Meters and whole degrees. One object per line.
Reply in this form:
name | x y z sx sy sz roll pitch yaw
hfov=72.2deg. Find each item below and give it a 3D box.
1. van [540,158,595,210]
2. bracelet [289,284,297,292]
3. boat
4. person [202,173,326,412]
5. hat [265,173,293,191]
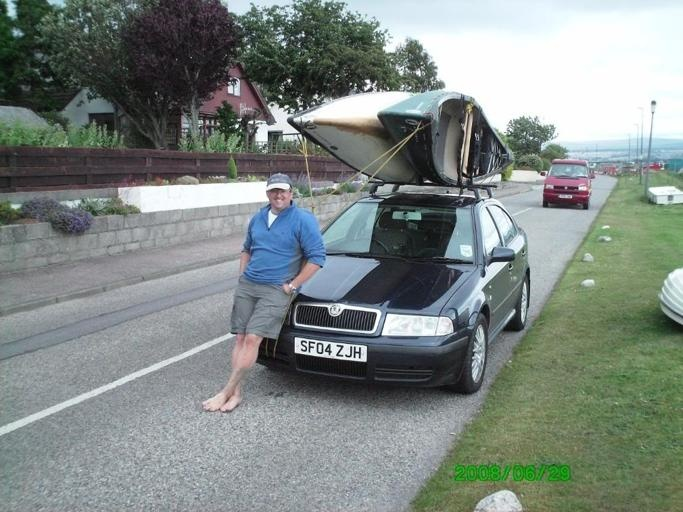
van | 12.427 -4.012 25.666 1.958 1.807 3.648 2 8 24
bracelet | -0.467 0.304 4.436 0.054 0.086 0.082 -12 25 -17
boat | 1.397 -1.410 7.322 1.729 1.248 3.723 21 17 38
person | -0.737 0.328 4.574 1.124 2.210 0.534 -4 10 -17
hat | -0.616 -0.721 4.580 0.225 0.162 0.299 -3 10 -11
